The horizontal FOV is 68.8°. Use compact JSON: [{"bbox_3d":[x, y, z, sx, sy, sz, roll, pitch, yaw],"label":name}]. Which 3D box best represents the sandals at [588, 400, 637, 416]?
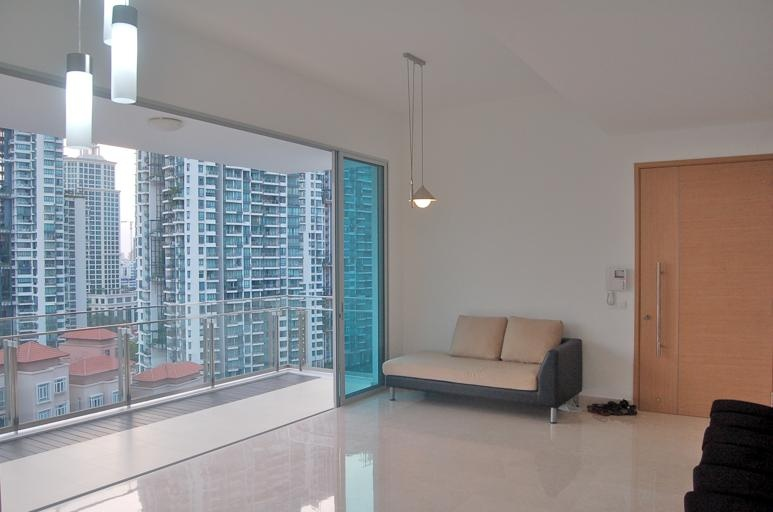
[{"bbox_3d":[2.801,1.883,7.006,0.362,0.129,0.262,1,-4,8],"label":"sandals"}]

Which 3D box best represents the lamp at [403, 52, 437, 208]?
[{"bbox_3d":[0.439,-1.533,7.375,0.376,1.782,0.517,-14,19,-35],"label":"lamp"}]

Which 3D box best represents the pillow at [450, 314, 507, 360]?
[{"bbox_3d":[1.245,1.075,7.613,0.708,0.553,0.196,-2,-24,41],"label":"pillow"}]
